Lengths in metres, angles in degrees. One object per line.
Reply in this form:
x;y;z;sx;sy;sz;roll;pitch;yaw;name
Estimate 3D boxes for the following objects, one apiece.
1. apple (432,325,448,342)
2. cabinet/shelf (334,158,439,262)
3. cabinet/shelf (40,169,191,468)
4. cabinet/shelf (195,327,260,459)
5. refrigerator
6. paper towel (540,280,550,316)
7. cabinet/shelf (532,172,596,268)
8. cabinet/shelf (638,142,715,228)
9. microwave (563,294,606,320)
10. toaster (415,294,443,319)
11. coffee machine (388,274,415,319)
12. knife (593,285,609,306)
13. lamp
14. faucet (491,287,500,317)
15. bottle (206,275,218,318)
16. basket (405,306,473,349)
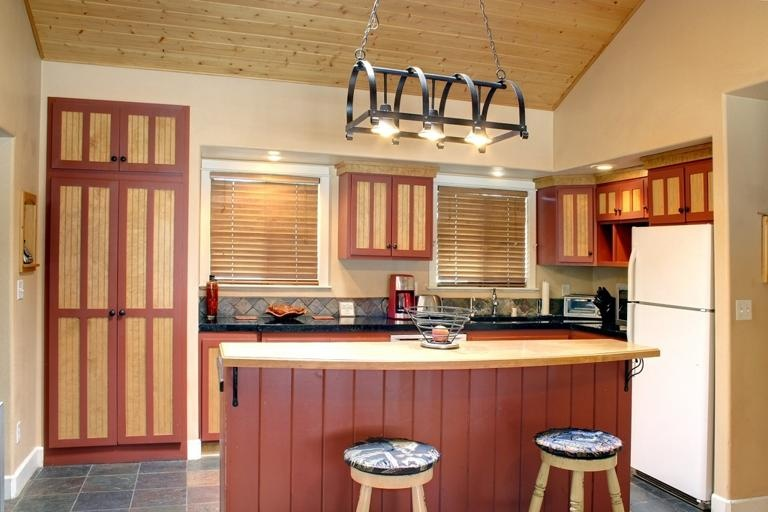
0.428;0.582;5.074;0.126;0.117;0.170;0;13;6;apple
0.020;-0.497;6.942;1.068;0.959;0.416;1;-3;-15;cabinet/shelf
-2.449;0.570;6.215;1.274;2.573;0.613;-3;13;-7;cabinet/shelf
-1.502;1.254;6.367;0.523;1.073;0.254;-4;14;-12;cabinet/shelf
2.529;0.867;5.846;0.489;2.290;1.077;-6;14;-21;refrigerator
1.874;0.484;7.763;0.104;0.365;0.223;2;14;13;paper towel
2.134;-0.378;7.608;0.613;0.976;0.626;-1;2;-27;cabinet/shelf
2.825;-0.554;6.223;0.769;0.751;0.400;-3;-7;35;cabinet/shelf
2.193;0.571;7.498;0.349;0.219;0.245;2;3;15;microwave
0.478;0.522;7.102;0.262;0.224;0.260;0;1;21;toaster
0.288;0.419;7.200;0.281;0.475;0.302;-3;5;43;coffee machine
2.330;0.427;7.105;0.057;0.179;0.188;3;-3;-42;knife
0.428;-1.654;6.081;1.460;1.611;0.694;5;-11;-16;lamp
1.268;0.515;7.643;0.087;0.284;0.177;1;13;8;faucet
-1.716;0.406;6.685;0.115;0.391;0.267;-3;13;-7;bottle
0.467;0.577;5.337;0.498;0.292;0.508;0;-10;20;basket
